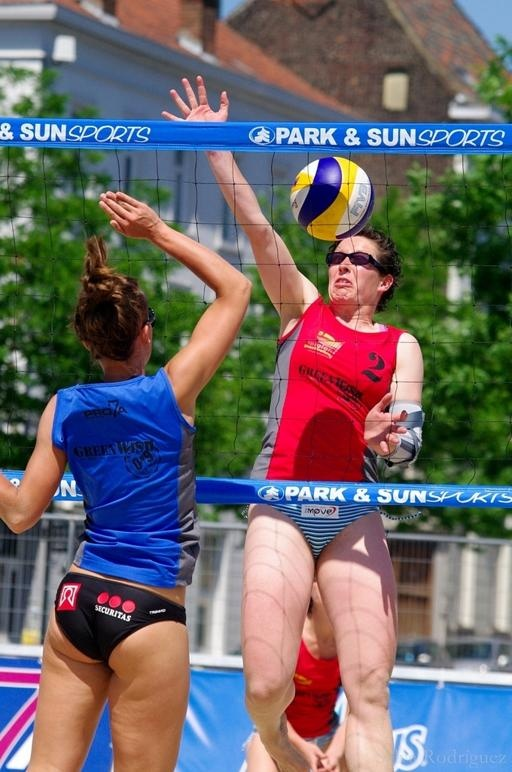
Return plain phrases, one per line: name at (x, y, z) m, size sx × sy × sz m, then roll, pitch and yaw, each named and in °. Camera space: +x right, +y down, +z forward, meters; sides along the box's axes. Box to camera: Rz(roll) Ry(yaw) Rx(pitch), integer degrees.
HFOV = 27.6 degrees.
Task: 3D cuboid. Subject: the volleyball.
volleyball at (0.274, -0.713, 4.022) m, size 0.297 × 0.320 × 0.302 m, roll -3°, pitch 3°, yaw 1°
